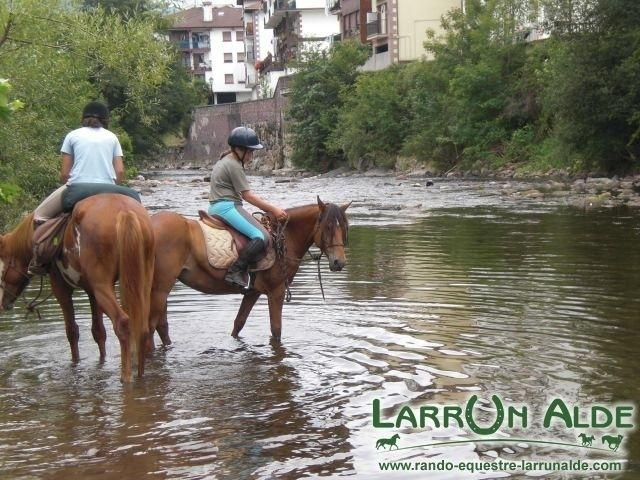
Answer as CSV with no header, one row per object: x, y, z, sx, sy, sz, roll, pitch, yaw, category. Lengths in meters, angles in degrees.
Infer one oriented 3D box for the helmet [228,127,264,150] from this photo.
-1.027,-1.433,11.496,0.441,0.218,0.317,1,18,-20,helmet

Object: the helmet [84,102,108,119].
-2.970,-1.732,10.889,0.227,0.161,0.291,-1,10,-14,helmet
